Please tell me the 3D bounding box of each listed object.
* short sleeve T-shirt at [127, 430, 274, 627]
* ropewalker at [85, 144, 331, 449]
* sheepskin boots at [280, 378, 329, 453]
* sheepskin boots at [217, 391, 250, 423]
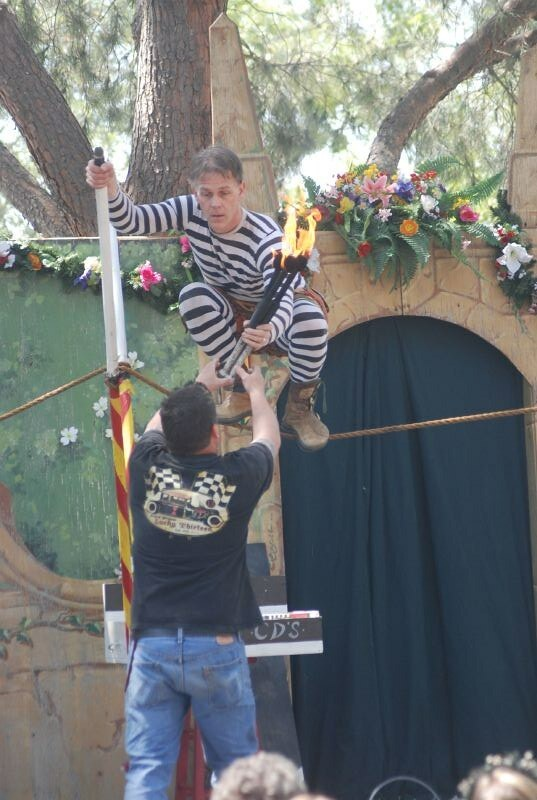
[{"bbox_3d":[-0.319,0.556,9.375,0.629,1.137,0.742,6,28,7],"label":"short sleeve T-shirt"},{"bbox_3d":[-0.177,-0.566,9.847,0.990,1.800,1.156,3,20,35],"label":"ropewalker"},{"bbox_3d":[0.227,0.065,10.258,0.178,0.380,0.375,-13,31,-32],"label":"sheepskin boots"},{"bbox_3d":[-0.207,0.025,10.345,0.227,0.110,0.117,-7,4,10],"label":"sheepskin boots"}]
